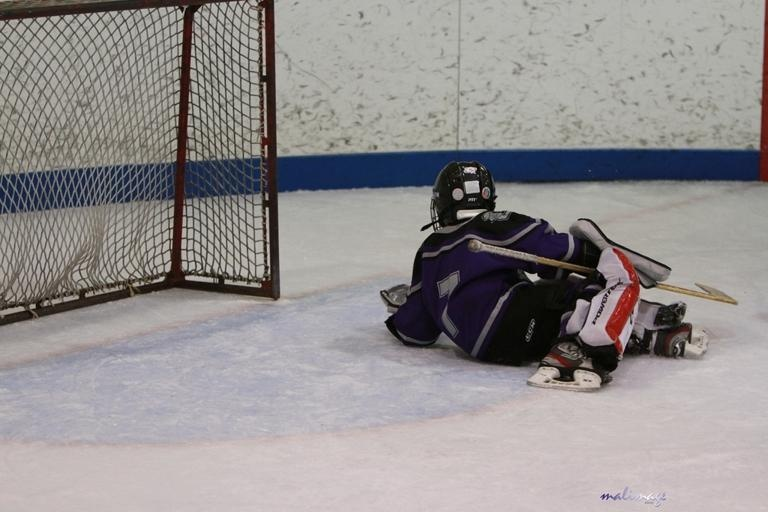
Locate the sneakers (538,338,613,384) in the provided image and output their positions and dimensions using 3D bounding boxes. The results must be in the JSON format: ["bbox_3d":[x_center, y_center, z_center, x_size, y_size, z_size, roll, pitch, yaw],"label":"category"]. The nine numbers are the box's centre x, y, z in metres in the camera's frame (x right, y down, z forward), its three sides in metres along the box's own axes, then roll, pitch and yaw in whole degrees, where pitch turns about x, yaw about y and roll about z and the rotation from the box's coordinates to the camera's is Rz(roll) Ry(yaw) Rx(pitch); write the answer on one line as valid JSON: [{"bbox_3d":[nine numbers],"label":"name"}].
[{"bbox_3d":[0.787,0.439,3.750,0.298,0.086,0.195,0,4,1],"label":"sneakers"}]

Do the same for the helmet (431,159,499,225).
[{"bbox_3d":[0.395,-0.268,4.154,0.348,0.283,0.368,-2,4,-8],"label":"helmet"}]

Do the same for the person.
[{"bbox_3d":[0.638,0.058,3.964,1.319,0.921,0.522,4,8,23],"label":"person"}]
